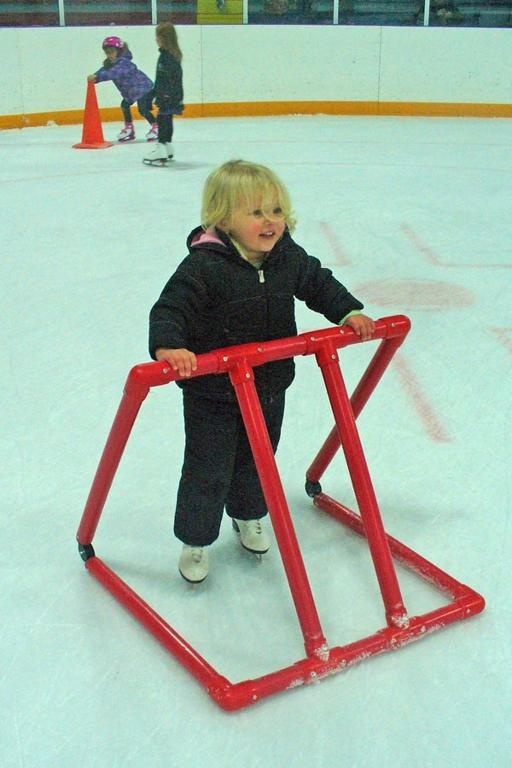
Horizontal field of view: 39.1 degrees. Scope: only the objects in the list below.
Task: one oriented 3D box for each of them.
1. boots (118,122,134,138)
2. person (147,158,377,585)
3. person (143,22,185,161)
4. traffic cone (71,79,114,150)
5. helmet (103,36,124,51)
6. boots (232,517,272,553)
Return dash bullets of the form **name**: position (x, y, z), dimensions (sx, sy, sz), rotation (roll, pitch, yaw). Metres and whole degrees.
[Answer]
- **boots**: position (-1.628, -3.176, 8.994), dimensions (0.266, 0.219, 0.098), rotation (6, 52, -6)
- **person**: position (-0.055, -0.005, 1.500), dimensions (0.514, 0.885, 0.355), rotation (-14, 25, -37)
- **person**: position (-0.952, -2.903, 7.207), dimensions (0.374, 1.353, 0.567), rotation (2, 20, 0)
- **traffic cone**: position (-1.924, -3.147, 8.422), dimensions (0.427, 0.778, 0.890), rotation (-2, 19, -11)
- **helmet**: position (-1.675, -3.989, 8.431), dimensions (0.232, 0.133, 0.134), rotation (-2, 19, -12)
- **boots**: position (-0.013, 0.351, 1.669), dimensions (0.043, 0.047, 0.112), rotation (-20, 17, -11)
